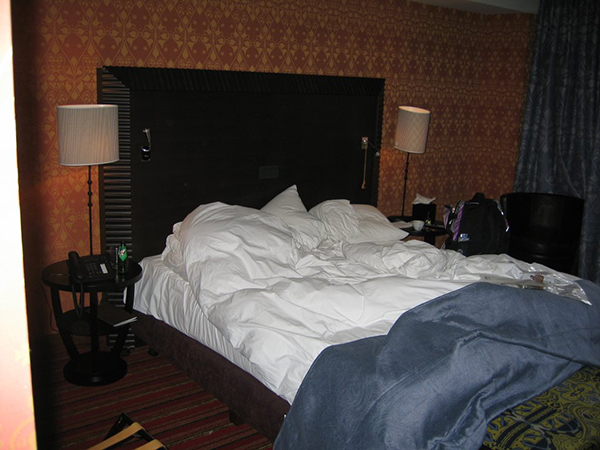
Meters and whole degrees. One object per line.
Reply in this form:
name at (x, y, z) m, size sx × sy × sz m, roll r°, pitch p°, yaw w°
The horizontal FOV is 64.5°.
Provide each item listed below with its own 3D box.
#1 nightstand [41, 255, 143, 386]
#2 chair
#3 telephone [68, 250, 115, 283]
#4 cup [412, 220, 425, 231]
nightstand at (-1.325, 0.569, 3.087) m, size 0.588 × 0.810 × 0.554 m, roll -5°, pitch 16°, yaw -32°
chair at (2.524, 0.180, 4.843) m, size 0.736 × 0.834 × 0.694 m, roll -3°, pitch -6°, yaw 10°
telephone at (-1.293, 0.276, 2.935) m, size 0.216 × 0.092 × 0.257 m, roll -1°, pitch 18°, yaw -30°
cup at (1.071, 0.002, 4.298) m, size 0.079 × 0.077 × 0.094 m, roll 5°, pitch 7°, yaw 27°
